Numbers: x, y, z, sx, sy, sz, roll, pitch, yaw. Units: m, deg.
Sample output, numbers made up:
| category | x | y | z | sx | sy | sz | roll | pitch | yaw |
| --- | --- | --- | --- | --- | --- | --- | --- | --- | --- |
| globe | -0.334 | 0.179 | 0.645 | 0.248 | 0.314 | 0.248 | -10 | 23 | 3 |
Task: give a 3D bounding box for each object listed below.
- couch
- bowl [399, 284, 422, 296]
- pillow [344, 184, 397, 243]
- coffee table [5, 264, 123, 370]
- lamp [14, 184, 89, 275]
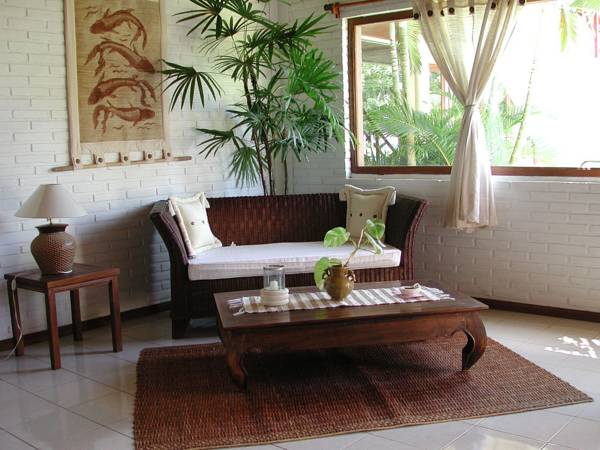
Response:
| category | x | y | z | sx | sy | sz | roll | pitch | yaw |
| --- | --- | --- | --- | --- | --- | --- | --- | --- | --- |
| couch | -0.125 | 0.246 | 4.206 | 2.455 | 0.816 | 0.805 | -4 | 25 | -9 |
| bowl | 0.721 | 0.427 | 2.955 | 0.107 | 0.032 | 0.090 | 1 | 4 | 20 |
| pillow | 0.642 | -0.088 | 4.350 | 0.143 | 0.555 | 0.740 | -2 | 8 | -38 |
| coffee table | -1.735 | 0.648 | 3.612 | 0.904 | 0.682 | 0.858 | 2 | 5 | 43 |
| lamp | -1.825 | 0.025 | 3.337 | 0.365 | 0.655 | 0.300 | 1 | 12 | 23 |
